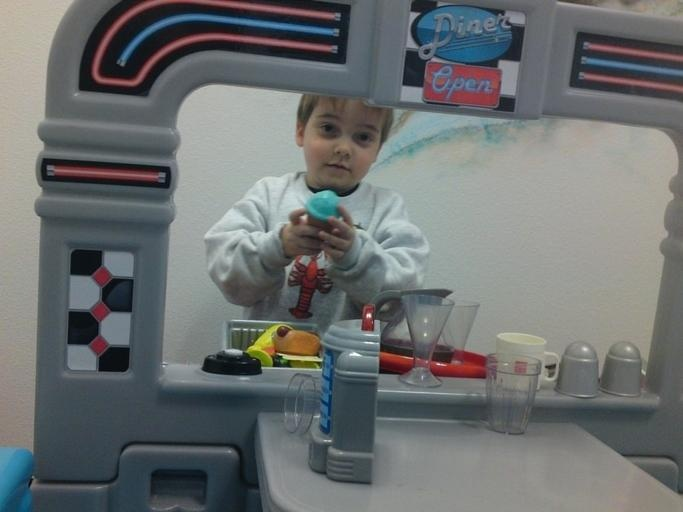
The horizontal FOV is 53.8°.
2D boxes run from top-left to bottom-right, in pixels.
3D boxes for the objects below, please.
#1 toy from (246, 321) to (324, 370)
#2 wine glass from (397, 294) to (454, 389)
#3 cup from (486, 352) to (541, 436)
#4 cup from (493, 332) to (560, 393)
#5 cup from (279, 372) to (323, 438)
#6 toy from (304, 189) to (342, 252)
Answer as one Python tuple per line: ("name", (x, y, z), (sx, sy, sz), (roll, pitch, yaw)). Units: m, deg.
("toy", (-0.138, 0.226, 1.664), (0.132, 0.045, 0.116), (6, 14, 3))
("wine glass", (0.198, 0.190, 1.560), (0.125, 0.205, 0.138), (3, 1, -31))
("cup", (0.385, 0.309, 1.516), (0.116, 0.175, 0.098), (1, -3, 23))
("cup", (0.454, 0.265, 1.630), (0.175, 0.124, 0.112), (10, 8, 12))
("cup", (-0.090, 0.324, 1.487), (0.081, 0.112, 0.122), (2, -3, -3))
("toy", (-0.045, -0.104, 1.557), (0.080, 0.089, 0.073), (2, -3, -2))
